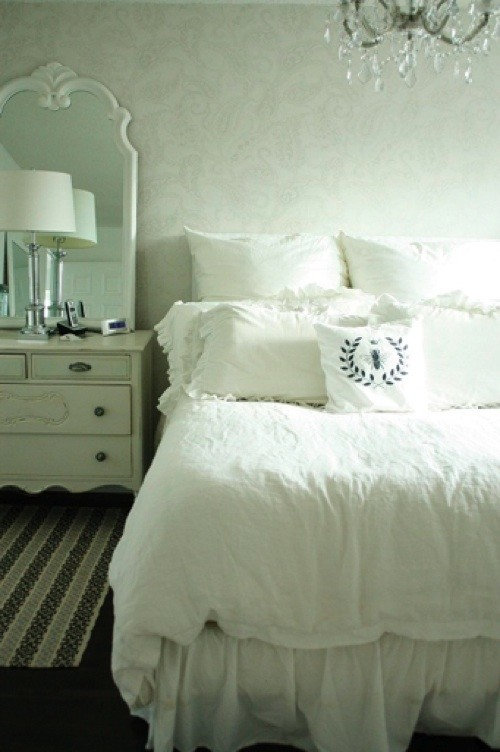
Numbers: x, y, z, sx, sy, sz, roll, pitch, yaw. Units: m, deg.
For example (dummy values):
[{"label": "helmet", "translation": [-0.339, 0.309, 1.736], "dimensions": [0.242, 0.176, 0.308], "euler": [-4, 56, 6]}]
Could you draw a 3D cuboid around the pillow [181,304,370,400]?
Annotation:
[{"label": "pillow", "translation": [0.013, -0.089, 2.219], "dimensions": [0.385, 0.329, 0.115], "euler": [1, -25, 8]}]
